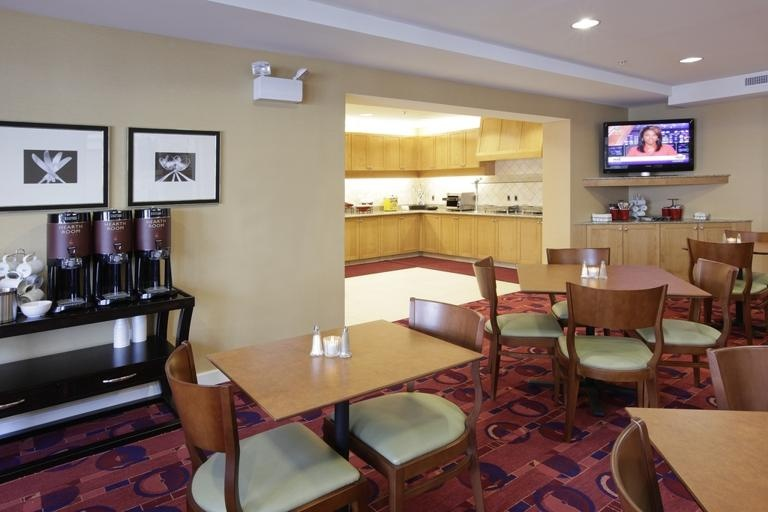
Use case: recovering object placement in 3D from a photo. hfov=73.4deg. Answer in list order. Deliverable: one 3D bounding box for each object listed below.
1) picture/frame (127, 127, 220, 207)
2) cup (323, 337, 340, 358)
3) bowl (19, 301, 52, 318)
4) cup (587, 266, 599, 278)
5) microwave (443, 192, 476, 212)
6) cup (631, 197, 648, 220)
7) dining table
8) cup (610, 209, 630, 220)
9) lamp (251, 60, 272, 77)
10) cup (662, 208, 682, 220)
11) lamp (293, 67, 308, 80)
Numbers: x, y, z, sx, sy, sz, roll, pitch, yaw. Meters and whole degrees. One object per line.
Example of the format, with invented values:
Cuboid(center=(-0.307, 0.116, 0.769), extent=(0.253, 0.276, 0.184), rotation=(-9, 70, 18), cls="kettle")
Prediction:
Cuboid(center=(-1.803, -0.767, 4.330), extent=(0.733, 0.599, 0.047), rotation=(-4, 8, -35), cls="picture/frame")
Cuboid(center=(-0.302, 0.526, 2.994), extent=(0.111, 0.110, 0.107), rotation=(-1, 3, 0), cls="cup")
Cuboid(center=(-2.448, 0.362, 3.645), extent=(0.142, 0.065, 0.137), rotation=(-1, 0, 0), cls="bowl")
Cuboid(center=(1.785, 0.131, 4.447), extent=(0.097, 0.103, 0.098), rotation=(-1, 8, 0), cls="cup")
Cuboid(center=(1.574, -1.138, 10.661), extent=(0.621, 0.373, 0.441), rotation=(2, 10, 23), cls="microwave")
Cuboid(center=(3.987, -0.769, 8.061), extent=(0.246, 0.329, 0.524), rotation=(3, 10, 25), cls="cup")
Cuboid(center=(-0.385, 1.054, 2.967), extent=(0.854, 0.758, 1.055), rotation=(0, -14, 34), cls="dining table")
Cuboid(center=(3.571, -0.620, 7.771), extent=(0.218, 0.144, 0.179), rotation=(1, 2, 34), cls="cup")
Cuboid(center=(-1.091, -1.666, 4.563), extent=(0.151, 0.152, 0.200), rotation=(-5, 10, -20), cls="lamp")
Cuboid(center=(4.325, -0.640, 7.751), extent=(0.203, 0.227, 0.335), rotation=(-6, 8, -38), cls="cup")
Cuboid(center=(-0.776, -1.687, 4.727), extent=(0.050, 0.162, 0.096), rotation=(35, 3, -46), cls="lamp")
